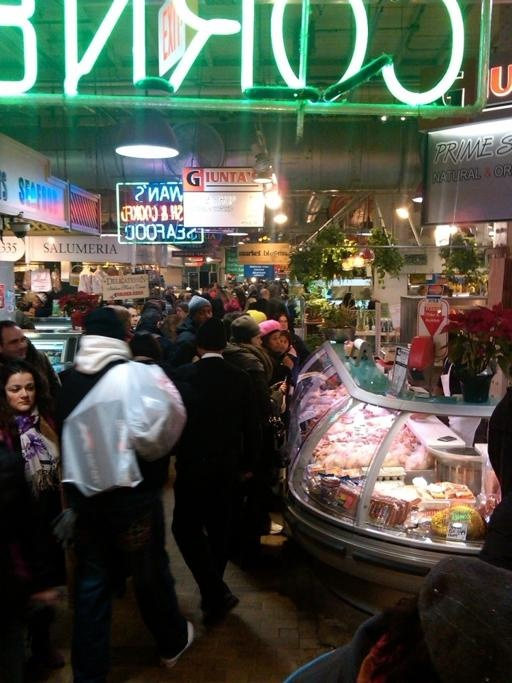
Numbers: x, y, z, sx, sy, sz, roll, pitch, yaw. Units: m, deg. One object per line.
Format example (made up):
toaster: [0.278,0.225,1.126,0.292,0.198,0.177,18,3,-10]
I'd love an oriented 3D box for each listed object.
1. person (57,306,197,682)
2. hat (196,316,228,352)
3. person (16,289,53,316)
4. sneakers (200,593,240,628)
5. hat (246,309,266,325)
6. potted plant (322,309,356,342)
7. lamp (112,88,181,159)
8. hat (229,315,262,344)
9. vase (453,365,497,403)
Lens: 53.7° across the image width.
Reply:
person: [-0.596,0.741,2.280,0.541,1.775,0.392,0,5,-11]
hat: [-0.275,-0.028,3.182,0.169,0.180,0.198,4,-7,-14]
person: [-4.103,-0.721,9.396,0.709,0.322,0.869,3,18,-11]
sneakers: [-0.204,1.547,2.925,0.225,0.096,0.181,0,5,-12]
hat: [0.012,-0.310,6.152,0.270,0.182,0.267,4,1,31]
potted plant: [0.819,-0.160,4.882,0.315,0.245,0.361,0,-3,-2]
lamp: [-1.090,-2.224,5.155,0.872,0.488,0.833,0,-3,-4]
hat: [-0.126,-0.111,4.399,0.205,0.197,0.268,6,16,36]
vase: [1.179,0.221,2.757,0.288,0.210,0.258,1,-1,-19]
